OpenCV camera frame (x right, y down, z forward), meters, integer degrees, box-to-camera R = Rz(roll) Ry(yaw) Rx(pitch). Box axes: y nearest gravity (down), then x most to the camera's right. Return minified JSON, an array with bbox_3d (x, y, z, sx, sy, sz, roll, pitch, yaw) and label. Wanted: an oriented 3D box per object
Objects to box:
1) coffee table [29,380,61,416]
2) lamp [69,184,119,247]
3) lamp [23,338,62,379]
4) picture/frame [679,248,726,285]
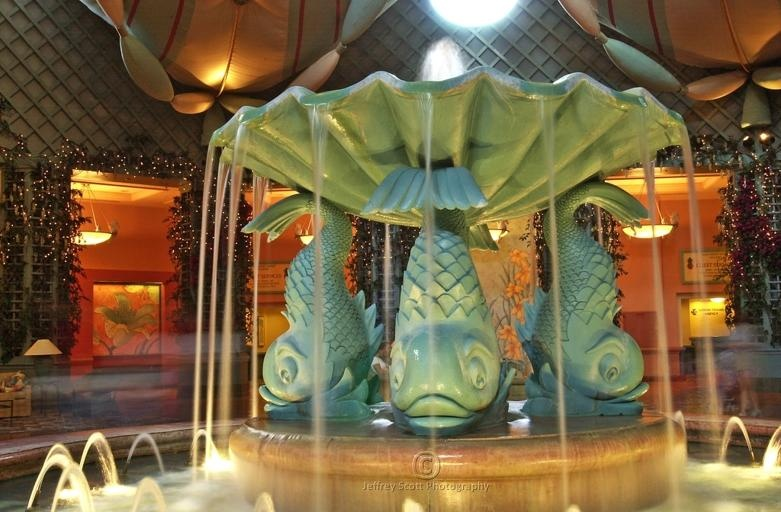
[{"bbox_3d":[-5.678,2.339,11.060,0.540,0.600,0.522,-1,-1,-39],"label":"coffee table"},{"bbox_3d":[-6.418,-0.892,14.533,0.827,1.115,0.838,-5,11,4],"label":"lamp"},{"bbox_3d":[-5.586,1.642,10.859,0.601,0.648,0.595,-1,-7,-21],"label":"lamp"},{"bbox_3d":[7.055,0.237,15.197,0.912,0.649,0.126,-1,3,-5],"label":"picture/frame"}]
